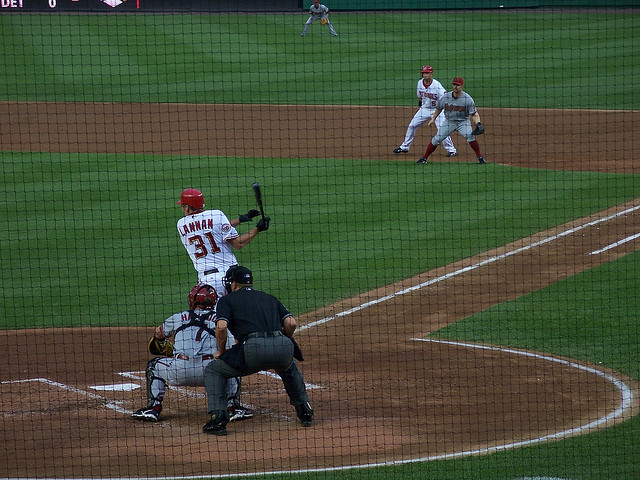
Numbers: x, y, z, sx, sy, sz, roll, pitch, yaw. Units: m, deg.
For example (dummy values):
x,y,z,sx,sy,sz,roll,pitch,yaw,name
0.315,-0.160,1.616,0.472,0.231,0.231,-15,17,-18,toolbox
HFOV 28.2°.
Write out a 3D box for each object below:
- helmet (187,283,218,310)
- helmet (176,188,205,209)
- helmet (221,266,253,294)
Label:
x,y,z,sx,sy,sz,roll,pitch,yaw,name
-1.898,0.957,21.506,0.576,0.385,0.392,9,0,1,helmet
-2.321,-0.744,22.727,0.469,0.195,0.333,14,22,36,helmet
-1.373,0.688,21.333,0.450,0.509,0.337,1,17,-7,helmet
